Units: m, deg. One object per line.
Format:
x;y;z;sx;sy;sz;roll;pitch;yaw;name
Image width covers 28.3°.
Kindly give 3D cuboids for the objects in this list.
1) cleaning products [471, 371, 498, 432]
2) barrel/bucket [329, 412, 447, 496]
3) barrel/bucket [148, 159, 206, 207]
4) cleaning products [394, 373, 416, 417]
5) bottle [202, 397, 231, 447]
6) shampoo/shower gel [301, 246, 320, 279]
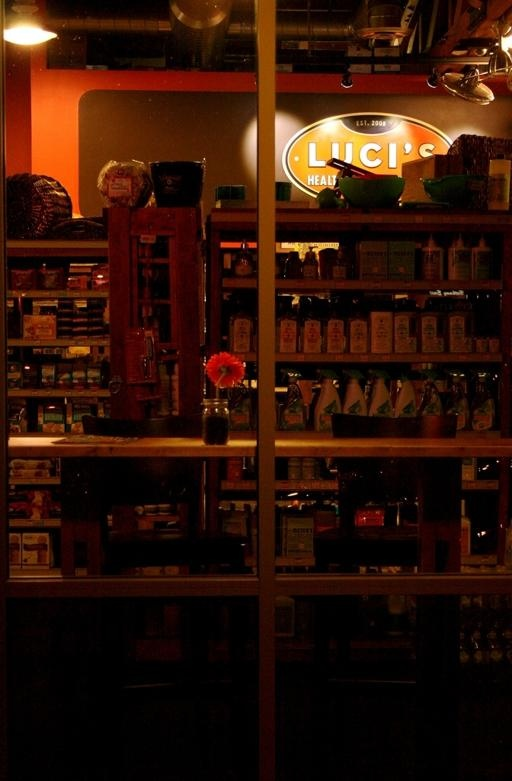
0.768;0.030;3.463;0.085;0.245;0.072;-9;32;-1;cleaning products
0.419;0.205;3.122;0.279;0.240;0.236;0;-6;6;barrel/bucket
-0.343;-0.871;4.351;0.195;0.168;0.189;1;3;0;barrel/bucket
0.489;0.021;3.341;0.073;0.120;0.238;-1;2;9;cleaning products
-0.134;0.096;3.078;0.090;0.134;0.097;-1;2;0;bottle
0.242;-0.564;4.575;0.104;0.199;0.106;2;8;13;shampoo/shower gel
